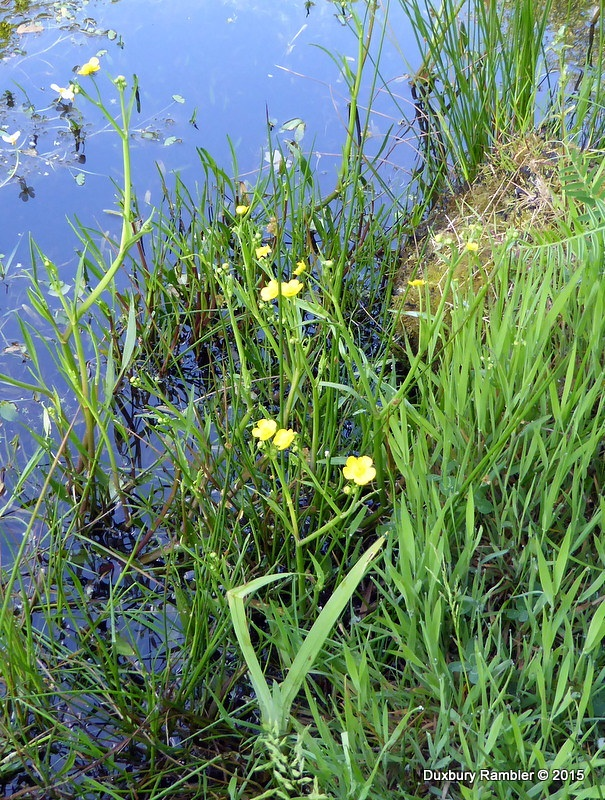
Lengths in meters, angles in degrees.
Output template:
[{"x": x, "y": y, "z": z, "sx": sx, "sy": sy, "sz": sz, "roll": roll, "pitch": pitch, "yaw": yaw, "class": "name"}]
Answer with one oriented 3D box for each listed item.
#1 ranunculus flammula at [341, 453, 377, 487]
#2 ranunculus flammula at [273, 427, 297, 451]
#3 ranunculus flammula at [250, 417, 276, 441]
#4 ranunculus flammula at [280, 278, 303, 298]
[{"x": 0.082, "y": 0.109, "z": 1.021, "sx": 0.048, "sy": 0.029, "sz": 0.060, "roll": -2, "pitch": 73, "yaw": 12, "class": "ranunculus flammula"}, {"x": -0.027, "y": 0.057, "z": 1.009, "sx": 0.026, "sy": 0.032, "sz": 0.012, "roll": 10, "pitch": 17, "yaw": 7, "class": "ranunculus flammula"}, {"x": -0.054, "y": 0.049, "z": 1.029, "sx": 0.032, "sy": 0.013, "sz": 0.035, "roll": 30, "pitch": 95, "yaw": 39, "class": "ranunculus flammula"}, {"x": -0.017, "y": -0.163, "z": 1.093, "sx": 0.034, "sy": 0.018, "sz": 0.035, "roll": -43, "pitch": 15, "yaw": -12, "class": "ranunculus flammula"}]
